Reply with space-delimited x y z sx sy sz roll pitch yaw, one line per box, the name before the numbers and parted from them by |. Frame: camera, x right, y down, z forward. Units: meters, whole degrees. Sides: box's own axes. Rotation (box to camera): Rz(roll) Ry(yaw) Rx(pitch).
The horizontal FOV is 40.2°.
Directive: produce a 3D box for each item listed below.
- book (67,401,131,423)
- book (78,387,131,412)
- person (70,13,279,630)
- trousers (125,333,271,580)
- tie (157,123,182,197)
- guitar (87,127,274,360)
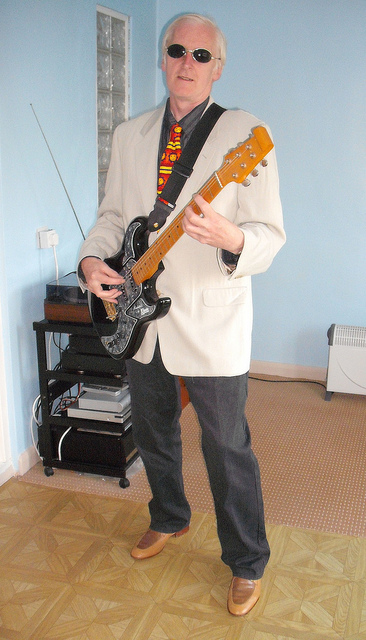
book | -0.363 0.397 2.098 0.129 0.030 0.142 3 9 12
book | -0.338 0.336 2.103 0.159 0.042 0.175 2 20 12
person | -0.019 -0.002 1.303 0.559 1.449 0.356 8 13 34
trousers | 0.027 0.328 1.439 0.410 0.871 0.234 8 18 33
tie | -0.030 -0.378 1.172 0.055 0.171 0.132 0 11 -3
guitar | -0.053 -0.176 1.227 0.081 0.256 0.632 2 -41 -49
